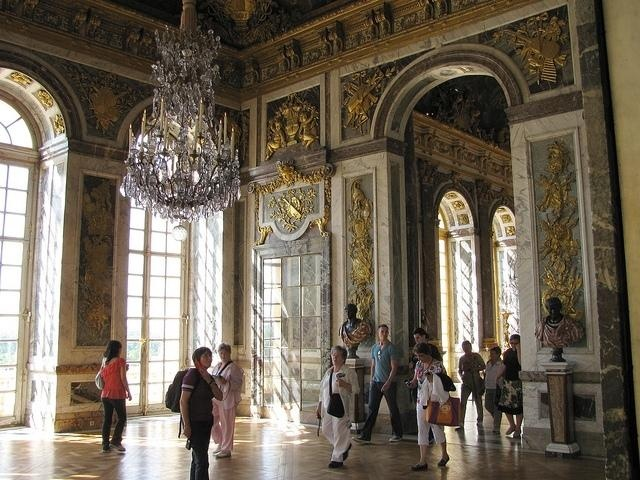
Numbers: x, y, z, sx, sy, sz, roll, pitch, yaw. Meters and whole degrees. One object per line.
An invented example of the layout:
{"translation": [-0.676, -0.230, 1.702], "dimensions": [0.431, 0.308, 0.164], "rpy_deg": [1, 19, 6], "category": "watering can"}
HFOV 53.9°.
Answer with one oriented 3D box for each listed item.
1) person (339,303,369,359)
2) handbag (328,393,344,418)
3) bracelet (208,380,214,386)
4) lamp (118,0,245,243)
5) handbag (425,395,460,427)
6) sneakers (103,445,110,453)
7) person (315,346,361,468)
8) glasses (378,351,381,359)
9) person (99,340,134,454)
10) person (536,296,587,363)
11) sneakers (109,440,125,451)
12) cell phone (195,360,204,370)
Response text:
{"translation": [0.566, 1.472, 10.131], "dimensions": [0.326, 0.928, 0.606], "rpy_deg": [13, -19, -33], "category": "person"}
{"translation": [0.202, 2.056, 7.858], "dimensions": [0.220, 0.355, 0.184], "rpy_deg": [0, -22, -5], "category": "handbag"}
{"translation": [-1.066, 1.396, 6.191], "dimensions": [0.019, 0.039, 0.035], "rpy_deg": [3, 20, 29], "category": "bracelet"}
{"translation": [-2.044, -2.018, 9.469], "dimensions": [1.563, 3.897, 2.637], "rpy_deg": [2, -12, -14], "category": "lamp"}
{"translation": [1.441, 2.015, 7.466], "dimensions": [0.355, 0.419, 0.146], "rpy_deg": [1, -7, 4], "category": "handbag"}
{"translation": [-2.948, 2.884, 8.702], "dimensions": [0.055, 0.120, 0.116], "rpy_deg": [-2, -11, 15], "category": "sneakers"}
{"translation": [0.200, 2.082, 7.903], "dimensions": [0.461, 1.459, 0.473], "rpy_deg": [-1, -11, 1], "category": "person"}
{"translation": [0.895, 1.712, 9.433], "dimensions": [0.023, 0.086, 0.057], "rpy_deg": [7, -18, -15], "category": "glasses"}
{"translation": [-2.896, 2.179, 8.898], "dimensions": [0.430, 1.519, 0.340], "rpy_deg": [-8, -13, 33], "category": "person"}
{"translation": [3.272, 1.215, 8.473], "dimensions": [0.314, 0.887, 0.619], "rpy_deg": [20, -24, -29], "category": "person"}
{"translation": [-2.788, 2.857, 8.714], "dimensions": [0.211, 0.115, 0.177], "rpy_deg": [3, -13, -20], "category": "sneakers"}
{"translation": [-1.194, 1.237, 6.237], "dimensions": [0.045, 0.058, 0.064], "rpy_deg": [20, -53, -9], "category": "cell phone"}
